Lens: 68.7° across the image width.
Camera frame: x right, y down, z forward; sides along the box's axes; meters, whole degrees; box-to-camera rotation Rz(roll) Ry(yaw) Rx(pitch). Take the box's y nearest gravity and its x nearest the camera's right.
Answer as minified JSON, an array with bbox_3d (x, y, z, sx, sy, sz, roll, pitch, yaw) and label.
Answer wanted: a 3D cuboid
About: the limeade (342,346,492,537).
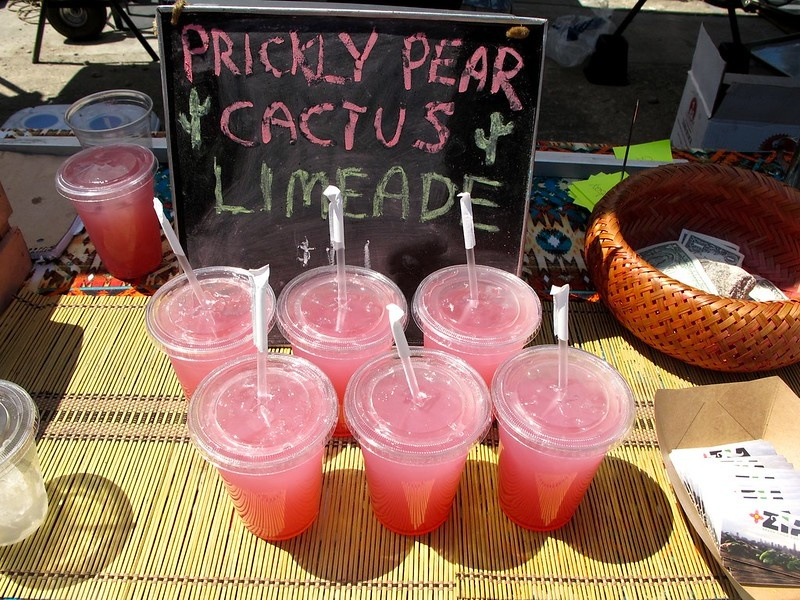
[{"bbox_3d":[0.045,0.336,1.487,0.372,0.342,0.388,11,45,8],"label":"limeade"}]

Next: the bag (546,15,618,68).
[{"bbox_3d":[1.585,-2.358,5.257,0.515,0.346,0.581,-7,40,-13],"label":"bag"}]

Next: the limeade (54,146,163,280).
[{"bbox_3d":[-0.929,-0.295,1.917,0.277,0.349,0.275,10,39,9],"label":"limeade"}]

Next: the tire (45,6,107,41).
[{"bbox_3d":[-2.933,-2.535,5.343,0.482,0.309,0.284,-17,42,-24],"label":"tire"}]

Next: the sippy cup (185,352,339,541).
[{"bbox_3d":[-0.344,0.308,1.429,0.348,0.347,0.339,10,49,-12],"label":"sippy cup"}]

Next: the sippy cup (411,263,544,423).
[{"bbox_3d":[0.178,0.114,1.624,0.335,0.256,0.333,12,33,-8],"label":"sippy cup"}]

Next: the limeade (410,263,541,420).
[{"bbox_3d":[0.199,0.137,1.638,0.376,0.299,0.388,-2,29,-9],"label":"limeade"}]

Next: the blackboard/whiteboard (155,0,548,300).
[{"bbox_3d":[-0.146,-0.414,1.597,0.908,0.715,0.037,0,25,-4],"label":"blackboard/whiteboard"}]

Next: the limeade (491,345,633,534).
[{"bbox_3d":[0.335,0.387,1.380,0.236,0.265,0.250,7,19,-8],"label":"limeade"}]
